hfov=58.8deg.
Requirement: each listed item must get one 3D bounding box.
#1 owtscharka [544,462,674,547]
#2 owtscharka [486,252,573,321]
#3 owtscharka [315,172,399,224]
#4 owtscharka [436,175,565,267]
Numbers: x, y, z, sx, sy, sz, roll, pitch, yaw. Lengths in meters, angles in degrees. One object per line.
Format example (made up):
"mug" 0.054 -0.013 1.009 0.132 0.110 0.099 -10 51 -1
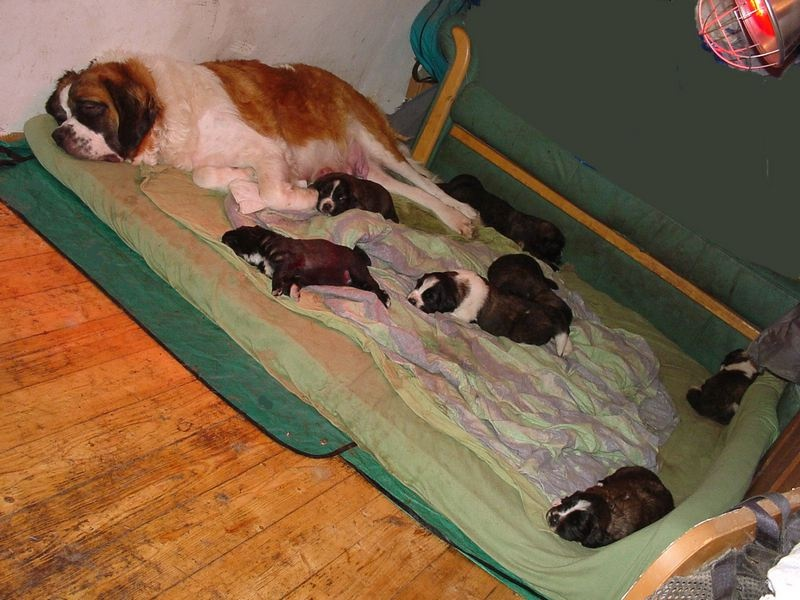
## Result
"owtscharka" 1.178 1.140 3.988 0.661 0.297 0.350 -15 39 -15
"owtscharka" 0.940 -0.061 5.185 0.573 0.229 0.421 45 36 -8
"owtscharka" -0.326 -0.728 5.310 0.545 0.282 0.356 5 -1 -18
"owtscharka" 0.866 -0.640 6.065 1.251 0.477 0.519 46 8 10
